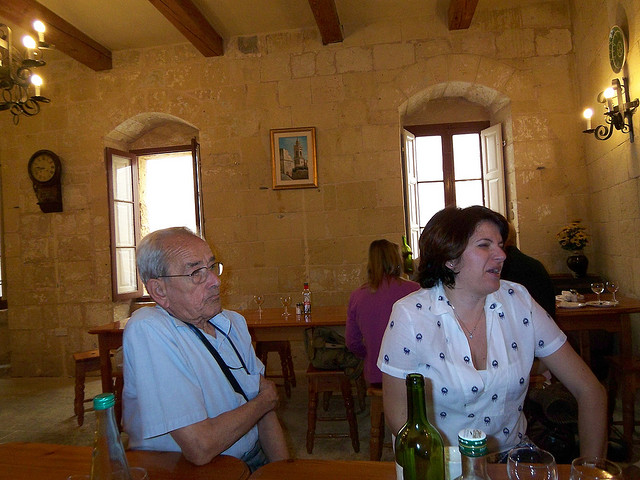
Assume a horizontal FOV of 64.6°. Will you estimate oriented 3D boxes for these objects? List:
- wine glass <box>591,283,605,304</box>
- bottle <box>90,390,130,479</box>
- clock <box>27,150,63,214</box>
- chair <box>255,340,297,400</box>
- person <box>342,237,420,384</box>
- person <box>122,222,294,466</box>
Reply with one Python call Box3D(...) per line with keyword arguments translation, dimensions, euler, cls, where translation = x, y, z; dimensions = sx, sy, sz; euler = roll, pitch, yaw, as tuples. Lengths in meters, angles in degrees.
Box3D(translation=(2.404, 0.461, 4.370), dimensions=(0.131, 0.229, 0.143), euler=(0, 9, 34), cls="wine glass")
Box3D(translation=(-0.825, 0.750, 1.980), dimensions=(0.129, 0.340, 0.204), euler=(-2, -3, -25), cls="bottle")
Box3D(translation=(-3.357, -0.720, 6.229), dimensions=(0.429, 0.775, 0.171), euler=(-4, -3, 18), cls="clock")
Box3D(translation=(-0.461, 1.307, 5.234), dimensions=(0.383, 0.500, 0.375), euler=(-7, -13, 5), cls="chair")
Box3D(translation=(0.569, 0.600, 3.925), dimensions=(0.756, 1.238, 0.586), euler=(-6, 11, 3), cls="person")
Box3D(translation=(-0.587, 0.453, 2.440), dimensions=(0.705, 1.075, 0.476), euler=(-2, -3, -23), cls="person")
